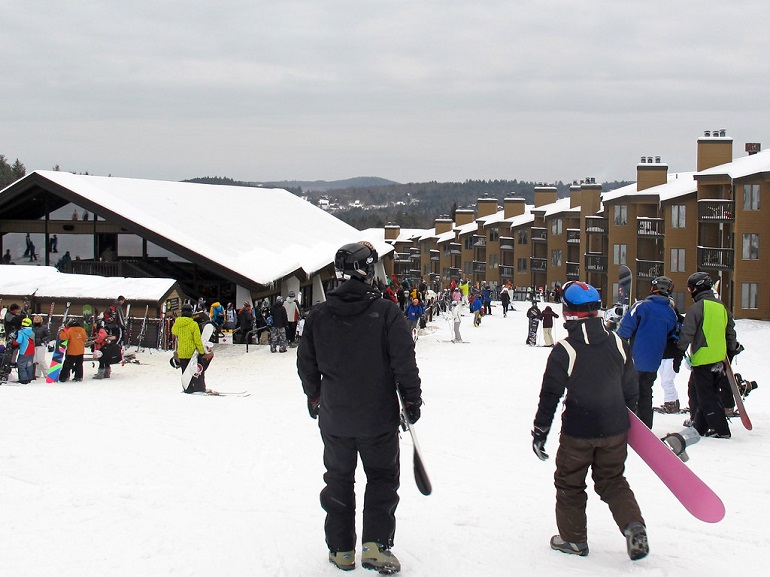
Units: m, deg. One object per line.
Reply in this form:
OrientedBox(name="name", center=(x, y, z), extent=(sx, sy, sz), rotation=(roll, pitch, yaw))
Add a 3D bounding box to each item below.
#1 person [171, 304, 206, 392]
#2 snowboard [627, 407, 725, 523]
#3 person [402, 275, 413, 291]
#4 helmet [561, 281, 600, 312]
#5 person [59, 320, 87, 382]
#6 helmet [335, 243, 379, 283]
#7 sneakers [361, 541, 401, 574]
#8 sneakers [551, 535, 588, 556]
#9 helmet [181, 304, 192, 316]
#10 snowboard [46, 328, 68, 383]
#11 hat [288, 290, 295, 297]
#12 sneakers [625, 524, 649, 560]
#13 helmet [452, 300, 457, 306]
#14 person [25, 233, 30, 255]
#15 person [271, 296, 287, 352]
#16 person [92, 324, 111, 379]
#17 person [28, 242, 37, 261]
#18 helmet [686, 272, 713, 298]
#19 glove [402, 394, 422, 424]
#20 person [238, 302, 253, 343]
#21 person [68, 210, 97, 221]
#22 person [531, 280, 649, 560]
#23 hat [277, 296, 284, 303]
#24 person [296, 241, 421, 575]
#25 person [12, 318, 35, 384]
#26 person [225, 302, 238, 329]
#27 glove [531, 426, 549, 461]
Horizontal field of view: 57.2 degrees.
OrientedBox(name="person", center=(-4.200, 1.275, 15.150), extent=(0.706, 1.959, 0.983), rotation=(0, 1, -17))
OrientedBox(name="snowboard", center=(3.474, 2.101, 8.374), extent=(0.177, 0.371, 1.581), rotation=(-5, 52, -48))
OrientedBox(name="person", center=(2.019, -0.425, 59.482), extent=(0.834, 1.005, 1.566), rotation=(-1, -7, -2))
OrientedBox(name="helmet", center=(2.037, 0.032, 7.361), extent=(0.247, 0.315, 0.342), rotation=(-2, 15, -5))
OrientedBox(name="person", center=(-7.920, 1.560, 17.853), extent=(0.582, 1.589, 0.976), rotation=(0, 1, -25))
OrientedBox(name="helmet", center=(-0.274, -0.292, 7.117), extent=(0.330, 0.348, 0.389), rotation=(6, 13, 31))
OrientedBox(name="sneakers", center=(-0.049, 2.556, 6.790), extent=(0.359, 0.302, 0.217), rotation=(6, -6, -8))
OrientedBox(name="sneakers", center=(1.886, 2.550, 7.214), extent=(0.343, 0.186, 0.159), rotation=(13, 4, 26))
OrientedBox(name="helmet", center=(-4.163, 0.454, 14.836), extent=(0.200, 0.283, 0.389), rotation=(0, 1, -16))
OrientedBox(name="snowboard", center=(-8.722, 1.792, 18.759), extent=(0.178, 1.366, 0.316), rotation=(1, -14, 39))
OrientedBox(name="hat", center=(-4.033, 0.191, 30.354), extent=(0.150, 0.227, 0.201), rotation=(2, -8, 7))
OrientedBox(name="sneakers", center=(2.457, 2.437, 6.862), extent=(0.167, 0.379, 0.153), rotation=(-2, -4, 9))
OrientedBox(name="helmet", center=(2.888, 0.566, 28.734), extent=(0.186, 0.236, 0.520), rotation=(0, 1, 6))
OrientedBox(name="person", center=(-18.763, -2.306, 37.051), extent=(0.194, 1.083, 0.615), rotation=(0, 1, -41))
OrientedBox(name="person", center=(-3.790, 1.305, 25.275), extent=(0.597, 1.891, 1.452), rotation=(0, 1, -9))
OrientedBox(name="person", center=(-7.511, 1.687, 18.727), extent=(0.390, 1.364, 0.946), rotation=(0, 1, -22))
OrientedBox(name="person", center=(-18.509, -1.978, 37.074), extent=(0.436, 1.056, 0.160), rotation=(0, 1, 12))
OrientedBox(name="helmet", center=(5.042, -0.070, 11.334), extent=(0.411, 0.466, 0.343), rotation=(0, 0, 26))
OrientedBox(name="glove", center=(0.276, 1.173, 6.976), extent=(0.198, 0.212, 0.200), rotation=(-2, 7, 13))
OrientedBox(name="person", center=(-5.593, 1.486, 28.599), extent=(0.554, 1.678, 3.988), rotation=(0, 1, -12))
OrientedBox(name="person", center=(-15.023, -3.667, 35.167), extent=(1.423, 0.584, 0.190), rotation=(1, 1, 15))
OrientedBox(name="person", center=(2.105, 1.320, 7.224), extent=(1.092, 2.677, 0.454), rotation=(1, 1, 23))
OrientedBox(name="hat", center=(-4.324, 0.405, 28.987), extent=(0.194, 0.273, 0.627), rotation=(-1, -1, -6))
OrientedBox(name="person", center=(-0.242, 1.122, 6.988), extent=(1.203, 3.159, 0.525), rotation=(0, 1, 2))
OrientedBox(name="person", center=(-8.975, 1.522, 17.586), extent=(0.387, 1.553, 0.688), rotation=(0, 1, -18))
OrientedBox(name="person", center=(-6.376, 1.114, 29.144), extent=(0.349, 1.049, 2.225), rotation=(0, 1, -11))
OrientedBox(name="glove", center=(1.605, 1.594, 7.325), extent=(0.096, 0.321, 0.221), rotation=(5, 21, 1))
